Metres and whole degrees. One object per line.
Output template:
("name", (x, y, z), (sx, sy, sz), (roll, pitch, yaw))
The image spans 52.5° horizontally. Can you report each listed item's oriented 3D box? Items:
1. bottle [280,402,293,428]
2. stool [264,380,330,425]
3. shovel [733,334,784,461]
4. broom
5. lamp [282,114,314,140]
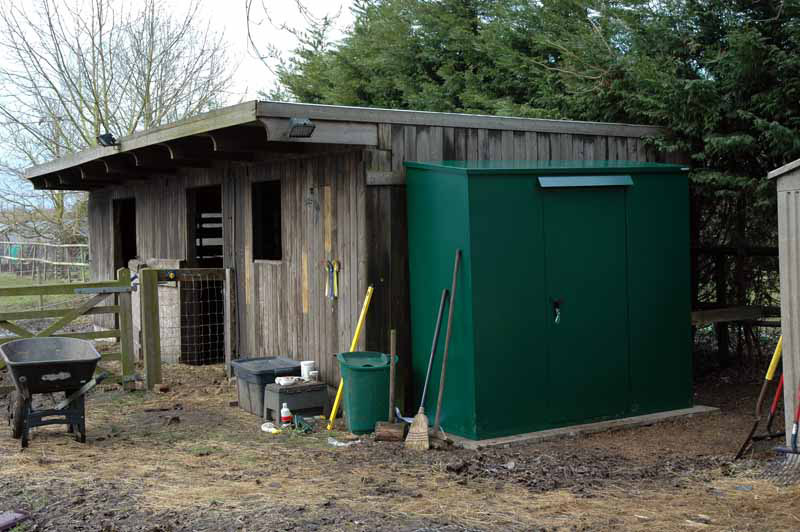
("bottle", (-1.511, 1.987, 10.889), (0.164, 0.268, 0.213), (-2, 12, -7))
("stool", (-1.436, 1.883, 11.253), (0.848, 0.482, 0.599), (-1, 1, -27))
("shovel", (4.407, 1.793, 9.885), (0.250, 0.659, 0.273), (19, -6, -6))
("broom", (0.346, 1.270, 10.313), (0.500, 1.844, 0.989), (1, 13, 7))
("lamp", (-1.280, -1.742, 10.321), (0.342, 0.267, 0.325), (2, -12, -18))
